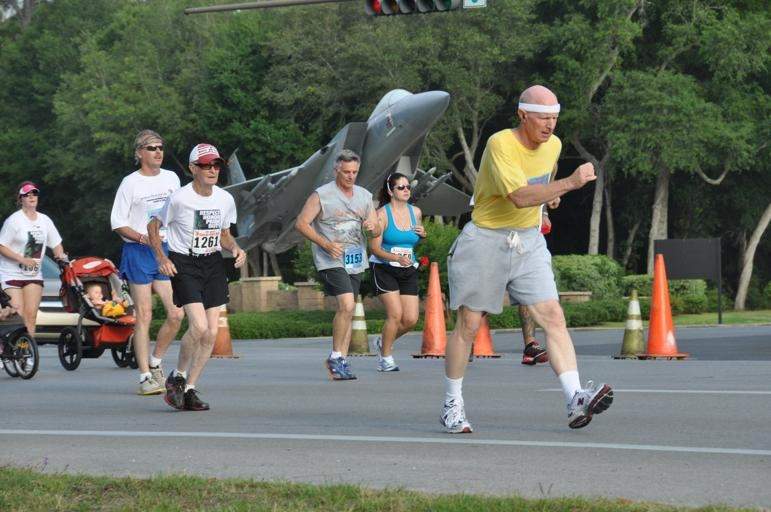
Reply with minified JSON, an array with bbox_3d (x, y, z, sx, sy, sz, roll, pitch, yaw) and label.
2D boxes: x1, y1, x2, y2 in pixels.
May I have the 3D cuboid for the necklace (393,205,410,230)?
[{"bbox_3d":[0.286,-0.640,20.110,0.261,0.385,0.100,-3,-11,-29],"label":"necklace"}]

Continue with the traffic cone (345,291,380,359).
[{"bbox_3d":[-0.455,1.316,23.018,0.511,1.154,0.535,1,-1,28],"label":"traffic cone"}]

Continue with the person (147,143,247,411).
[{"bbox_3d":[-2.610,0.294,16.985,1.201,3.704,0.611,-5,3,-10],"label":"person"}]

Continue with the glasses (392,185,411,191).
[{"bbox_3d":[0.285,-1.131,19.976,0.264,0.089,0.097,-5,3,-20],"label":"glasses"}]

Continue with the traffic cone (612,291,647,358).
[{"bbox_3d":[4.396,1.210,21.543,0.636,1.215,0.554,0,-1,2],"label":"traffic cone"}]
